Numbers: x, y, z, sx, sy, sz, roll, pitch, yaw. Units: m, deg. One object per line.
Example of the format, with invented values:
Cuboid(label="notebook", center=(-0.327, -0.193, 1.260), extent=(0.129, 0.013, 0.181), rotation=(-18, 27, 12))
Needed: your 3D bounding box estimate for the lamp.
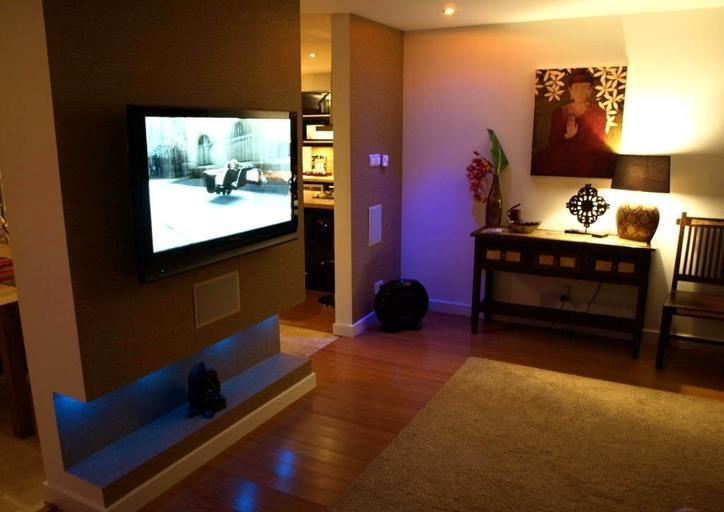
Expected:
Cuboid(label="lamp", center=(2.481, -0.528, 4.878), extent=(0.485, 0.756, 0.491), rotation=(10, 12, 41))

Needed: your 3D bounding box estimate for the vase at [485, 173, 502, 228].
Cuboid(label="vase", center=(1.313, -0.563, 5.408), extent=(0.178, 0.522, 0.304), rotation=(3, 14, 12))
